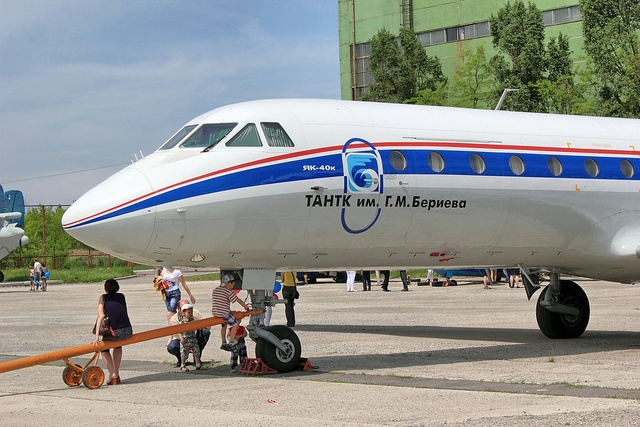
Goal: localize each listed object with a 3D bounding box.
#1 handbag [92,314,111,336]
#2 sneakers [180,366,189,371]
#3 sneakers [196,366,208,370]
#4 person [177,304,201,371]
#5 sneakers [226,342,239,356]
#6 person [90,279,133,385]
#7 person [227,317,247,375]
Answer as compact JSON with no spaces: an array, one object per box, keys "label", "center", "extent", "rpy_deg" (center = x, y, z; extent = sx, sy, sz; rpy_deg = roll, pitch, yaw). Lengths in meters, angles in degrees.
[{"label":"handbag","center":[-5.095,2.616,19.792],"extent":[0.245,0.491,0.140],"rpy_deg":[-4,1,-34]},{"label":"sneakers","center":[-3.374,3.831,20.925],"extent":[0.200,0.135,0.282],"rpy_deg":[-3,0,-9]},{"label":"sneakers","center":[-2.970,3.854,21.090],"extent":[0.223,0.068,0.091],"rpy_deg":[-1,1,-9]},{"label":"person","center":[-3.293,3.063,21.101],"extent":[0.547,1.691,0.992],"rpy_deg":[-3,1,-9]},{"label":"sneakers","center":[-2.150,3.289,20.827],"extent":[0.144,0.142,0.387],"rpy_deg":[2,3,19]},{"label":"person","center":[-4.994,2.765,20.160],"extent":[0.898,2.496,1.314],"rpy_deg":[-4,1,-14]},{"label":"person","center":[-2.052,3.290,20.856],"extent":[0.435,1.155,0.737],"rpy_deg":[-3,0,-7]}]
